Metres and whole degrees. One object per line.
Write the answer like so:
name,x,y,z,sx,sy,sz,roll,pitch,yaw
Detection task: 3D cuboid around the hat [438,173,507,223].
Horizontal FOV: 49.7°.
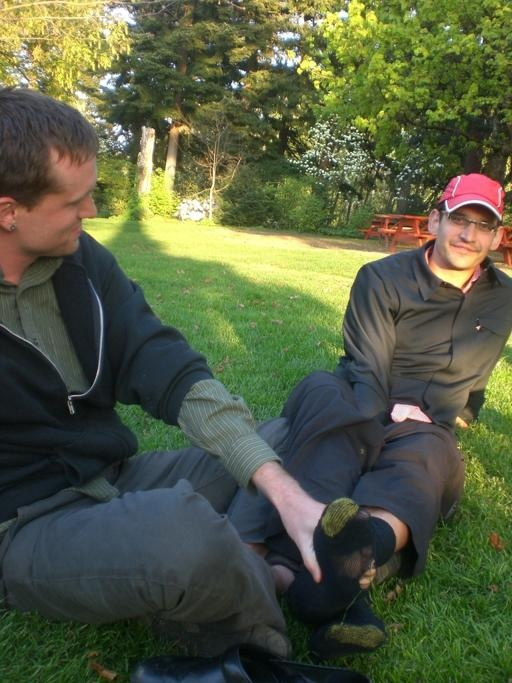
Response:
hat,1.116,-0.739,2.888,0.247,0.164,0.334,13,8,4

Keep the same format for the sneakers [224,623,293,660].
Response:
sneakers,0.005,0.819,1.518,0.187,0.055,0.096,5,30,1
